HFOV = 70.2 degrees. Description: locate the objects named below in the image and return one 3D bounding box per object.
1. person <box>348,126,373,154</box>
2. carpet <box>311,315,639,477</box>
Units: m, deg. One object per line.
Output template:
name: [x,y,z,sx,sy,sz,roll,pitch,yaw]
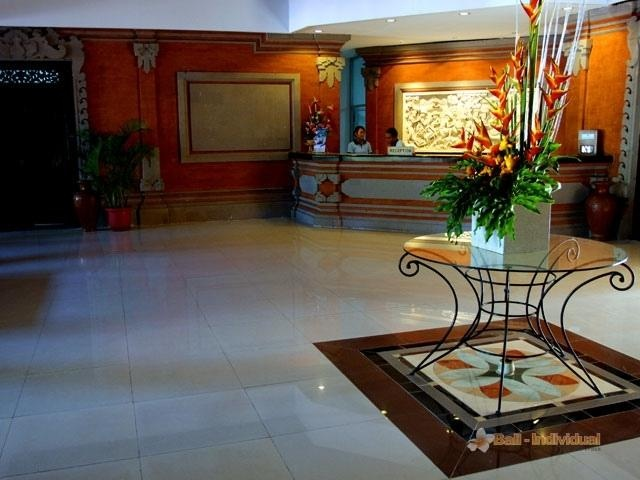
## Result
person: [0.764,-1.997,9.183,0.458,0.505,0.938,0,13,6]
carpet: [0.914,1.031,3.208,1.385,0.046,1.941,-8,15,-30]
